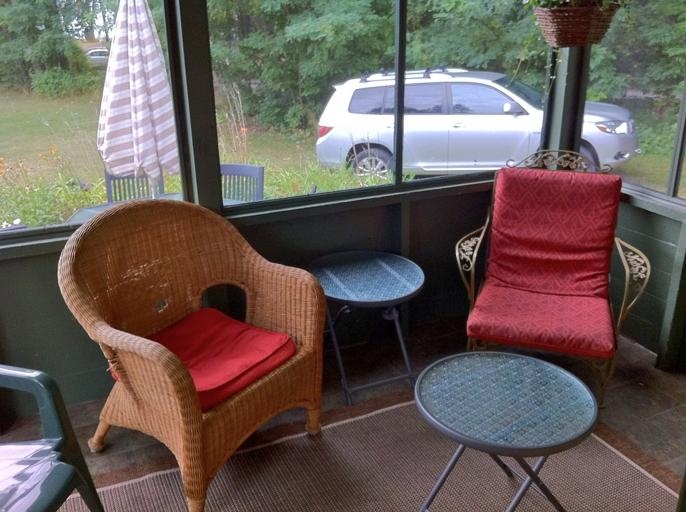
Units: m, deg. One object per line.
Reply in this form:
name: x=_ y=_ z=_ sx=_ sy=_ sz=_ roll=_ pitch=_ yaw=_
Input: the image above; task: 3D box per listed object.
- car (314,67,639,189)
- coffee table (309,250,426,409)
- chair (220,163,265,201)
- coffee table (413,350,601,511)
car: x=0.740 y=-0.791 z=3.512 sx=1.881 sy=0.745 sz=0.771 roll=-4 pitch=34 yaw=1
coffee table: x=0.104 y=0.332 z=3.364 sx=0.621 sy=0.862 sz=0.828 roll=-14 pitch=31 yaw=-22
chair: x=-0.557 y=-0.413 z=3.074 sx=0.181 sy=0.320 sz=0.204 roll=0 pitch=11 yaw=-5
coffee table: x=0.671 y=0.602 z=2.283 sx=0.655 sy=0.544 sz=0.685 roll=15 pitch=31 yaw=27
